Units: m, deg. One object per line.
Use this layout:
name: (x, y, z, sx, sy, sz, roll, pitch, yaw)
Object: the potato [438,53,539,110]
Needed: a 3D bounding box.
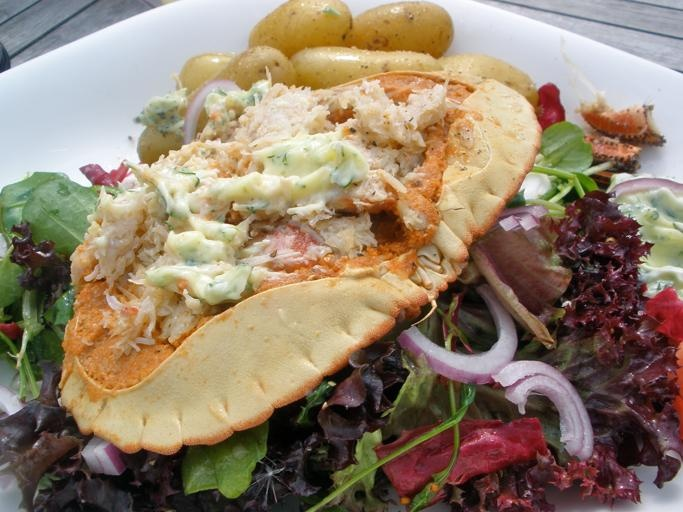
potato: (0.888, -1.026, 4.110, 0.266, 0.386, 0.276, 8, 51, -1)
